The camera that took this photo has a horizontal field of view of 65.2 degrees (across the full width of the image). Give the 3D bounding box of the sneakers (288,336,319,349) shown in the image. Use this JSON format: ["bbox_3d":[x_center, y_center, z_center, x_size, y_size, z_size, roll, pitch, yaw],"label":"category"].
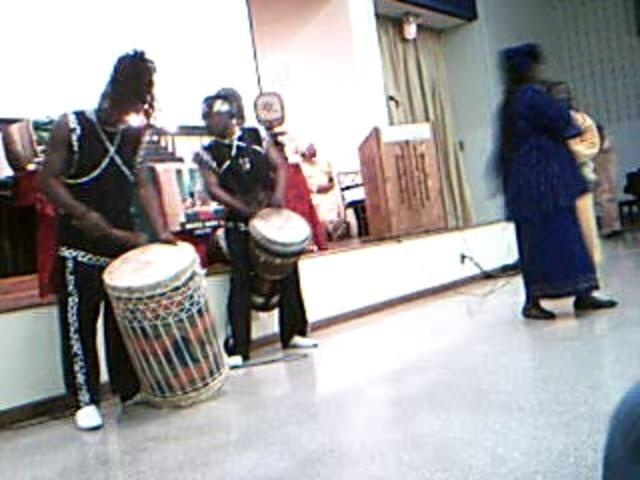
[{"bbox_3d":[-0.114,0.636,3.135,0.147,0.037,0.084,0,5,0],"label":"sneakers"}]

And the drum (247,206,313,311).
[{"bbox_3d":[-0.249,0.139,2.991,0.416,0.654,0.347,-11,10,-9],"label":"drum"}]

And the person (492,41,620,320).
[{"bbox_3d":[1.214,-0.302,2.777,0.467,1.537,0.238,-6,11,17],"label":"person"}]
